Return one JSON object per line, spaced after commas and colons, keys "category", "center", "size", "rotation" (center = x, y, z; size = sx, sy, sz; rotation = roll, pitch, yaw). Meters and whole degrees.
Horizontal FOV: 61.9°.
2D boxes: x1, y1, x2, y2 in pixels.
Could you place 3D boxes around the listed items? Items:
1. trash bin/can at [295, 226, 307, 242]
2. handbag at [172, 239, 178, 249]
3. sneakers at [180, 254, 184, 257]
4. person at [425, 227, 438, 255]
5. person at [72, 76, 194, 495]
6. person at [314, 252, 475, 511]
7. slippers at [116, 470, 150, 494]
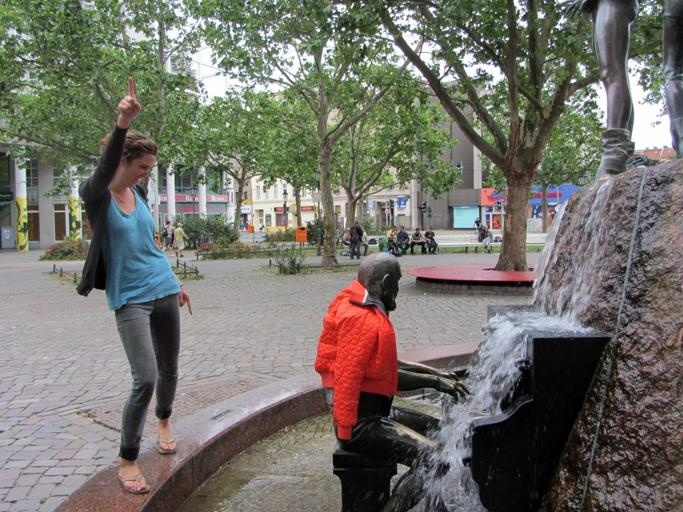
{"category": "trash bin/can", "center": [-2.600, -1.309, 36.434], "size": [0.667, 1.031, 1.278], "rotation": [-1, 3, 8]}
{"category": "handbag", "center": [-9.245, -0.656, 31.709], "size": [0.400, 0.660, 0.150], "rotation": [3, -6, -2]}
{"category": "sneakers", "center": [-8.134, 0.005, 29.079], "size": [0.123, 0.129, 0.219], "rotation": [6, -5, -9]}
{"category": "person", "center": [4.631, -0.729, 29.501], "size": [0.601, 1.232, 2.067], "rotation": [-1, 3, 10]}
{"category": "person", "center": [-1.328, 0.151, 3.760], "size": [0.552, 2.568, 0.641], "rotation": [0, 4, 31]}
{"category": "person", "center": [0.188, 0.773, 3.395], "size": [0.677, 1.546, 0.333], "rotation": [-2, 3, -3]}
{"category": "slippers", "center": [-1.283, 1.407, 3.516], "size": [0.208, 0.087, 0.152], "rotation": [-2, 3, -8]}
